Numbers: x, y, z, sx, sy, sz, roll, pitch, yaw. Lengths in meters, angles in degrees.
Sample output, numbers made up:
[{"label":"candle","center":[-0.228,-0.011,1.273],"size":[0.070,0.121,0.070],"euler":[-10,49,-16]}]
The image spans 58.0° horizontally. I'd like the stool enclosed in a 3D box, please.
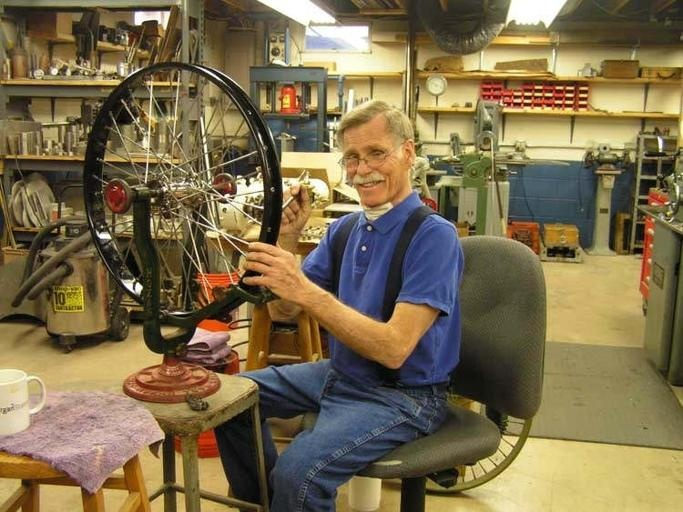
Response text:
[{"label":"stool","center":[-0.584,0.489,1.915],"size":[0.676,0.465,0.478],"euler":[2,3,19]}]
